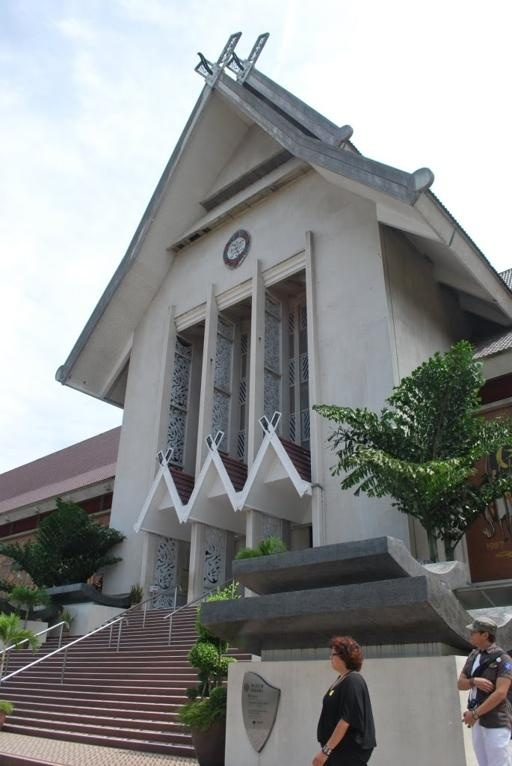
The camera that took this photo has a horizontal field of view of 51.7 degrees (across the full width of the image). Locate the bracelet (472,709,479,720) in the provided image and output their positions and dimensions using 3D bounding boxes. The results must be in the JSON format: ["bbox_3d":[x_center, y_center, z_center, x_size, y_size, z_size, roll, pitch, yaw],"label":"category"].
[{"bbox_3d":[1.077,1.609,2.594,0.026,0.047,0.054,-9,-28,18],"label":"bracelet"}]

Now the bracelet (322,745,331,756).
[{"bbox_3d":[0.299,1.569,2.278,0.036,0.040,0.026,24,-36,-21],"label":"bracelet"}]
